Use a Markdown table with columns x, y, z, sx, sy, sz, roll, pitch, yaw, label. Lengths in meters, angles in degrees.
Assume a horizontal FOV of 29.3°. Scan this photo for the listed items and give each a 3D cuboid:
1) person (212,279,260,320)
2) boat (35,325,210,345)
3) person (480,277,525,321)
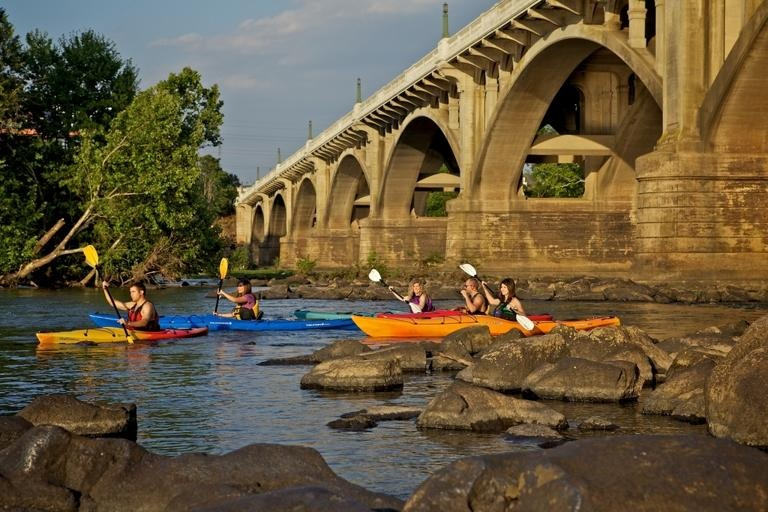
| x | y | z | sx | sy | sz | roll | pitch | yaw | label |
| --- | --- | --- | --- | --- | --- | --- | --- | --- | --- |
| -4.474 | 1.593 | 44.820 | 1.279 | 1.553 | 0.812 | 5 | -3 | -17 | person |
| -7.492 | 2.314 | 42.172 | 4.626 | 0.483 | 1.069 | 1 | -2 | -29 | boat |
| 3.331 | 1.754 | 41.671 | 1.317 | 2.195 | 0.707 | -5 | -9 | 43 | person |
